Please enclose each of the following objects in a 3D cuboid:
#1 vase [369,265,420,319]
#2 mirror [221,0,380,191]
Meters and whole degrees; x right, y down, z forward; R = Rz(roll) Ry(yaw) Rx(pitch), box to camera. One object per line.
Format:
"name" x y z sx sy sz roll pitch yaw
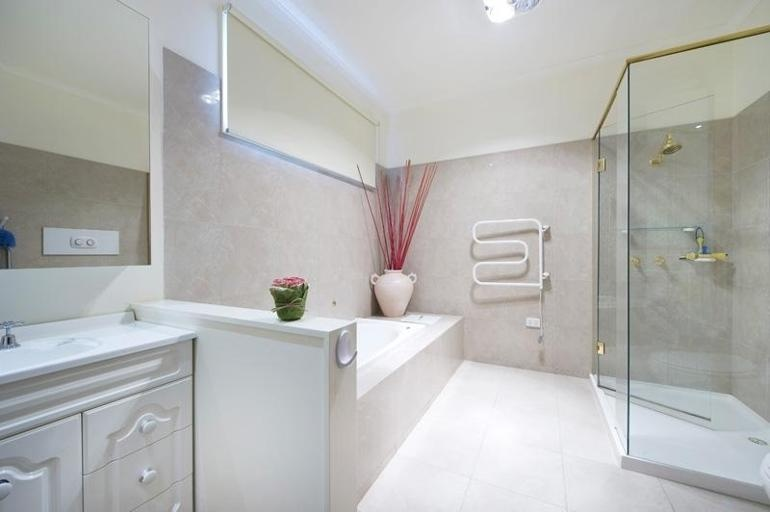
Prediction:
"vase" 0.075 0.355 4.739 0.285 0.454 0.248 0 -2 -37
"mirror" -0.693 -1.273 3.814 0.058 0.598 1.369 -2 -6 27
